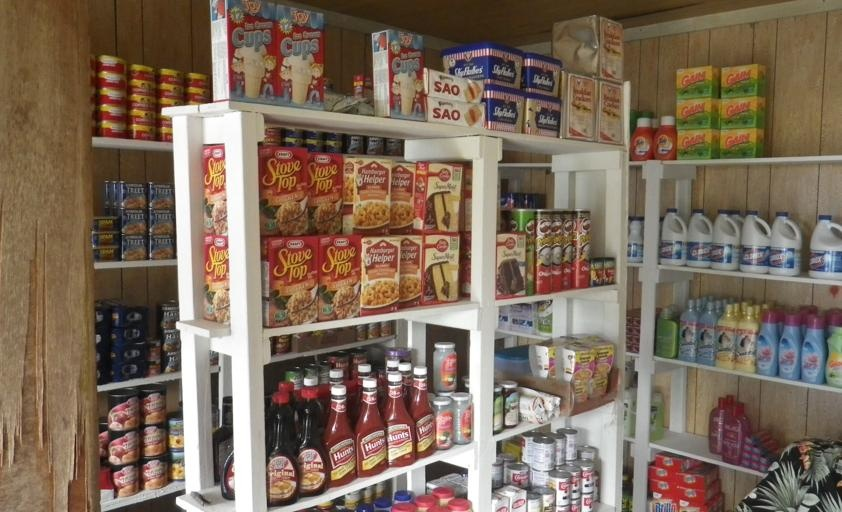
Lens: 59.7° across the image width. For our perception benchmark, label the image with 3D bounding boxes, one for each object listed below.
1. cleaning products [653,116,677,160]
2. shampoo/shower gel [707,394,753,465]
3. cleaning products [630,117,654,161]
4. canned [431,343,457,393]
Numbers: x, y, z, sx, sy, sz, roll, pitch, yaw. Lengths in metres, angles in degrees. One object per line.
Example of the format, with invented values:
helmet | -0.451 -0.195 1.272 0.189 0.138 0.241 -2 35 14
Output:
cleaning products | 1.414 -0.691 4.275 0.121 0.251 0.198 1 8 17
shampoo/shower gel | 1.729 0.967 4.119 0.152 0.337 0.227 -5 8 -22
cleaning products | 1.309 -0.702 4.370 0.139 0.247 0.111 1 8 22
canned | 0.108 0.442 2.902 0.123 0.185 0.115 0 -2 -20
